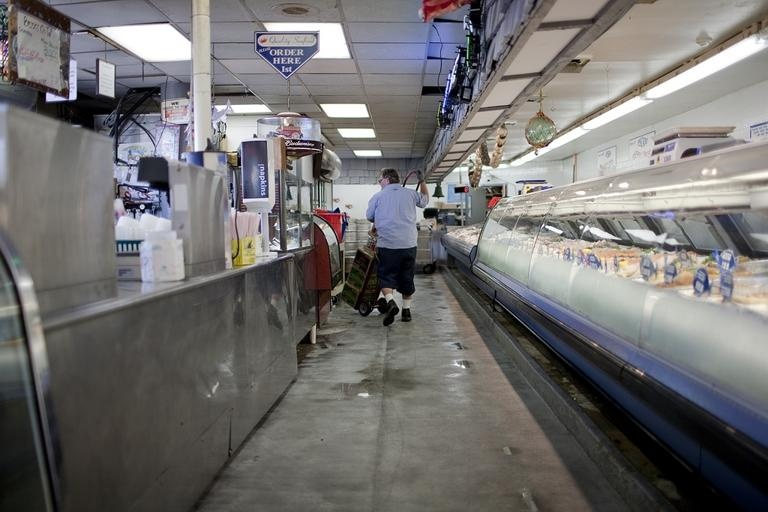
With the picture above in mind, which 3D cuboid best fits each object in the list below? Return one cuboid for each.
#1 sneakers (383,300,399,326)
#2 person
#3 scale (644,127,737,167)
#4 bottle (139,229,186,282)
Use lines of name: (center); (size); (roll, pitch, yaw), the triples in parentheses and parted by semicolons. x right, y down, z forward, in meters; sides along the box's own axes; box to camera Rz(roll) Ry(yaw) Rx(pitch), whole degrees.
sneakers: (0.088, 0.604, 5.105); (0.117, 0.329, 0.142); (6, 12, -27)
person: (0.143, -0.100, 5.427); (0.690, 1.780, 1.046); (-1, 9, 5)
scale: (2.373, -0.830, 3.653); (0.574, 0.221, 0.571); (0, 9, -13)
bottle: (-1.030, -0.001, 2.211); (0.192, 0.224, 0.140); (-6, 10, -26)
